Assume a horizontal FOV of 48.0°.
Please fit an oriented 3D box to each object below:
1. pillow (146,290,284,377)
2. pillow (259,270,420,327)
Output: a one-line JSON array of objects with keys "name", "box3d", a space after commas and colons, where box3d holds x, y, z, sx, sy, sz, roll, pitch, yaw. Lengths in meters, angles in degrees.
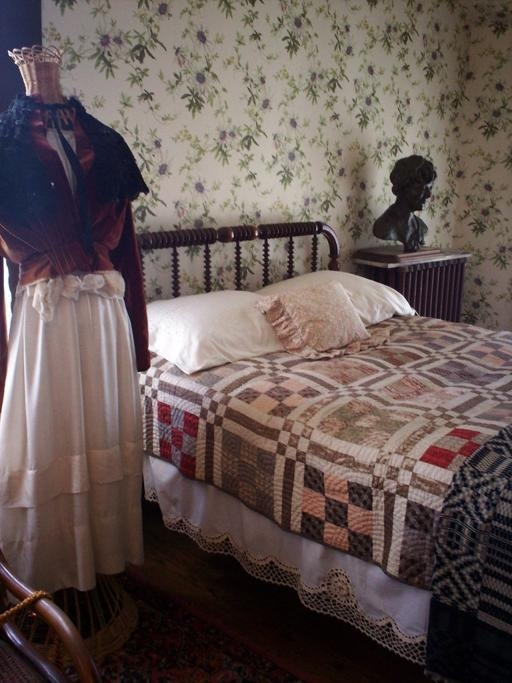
[{"name": "pillow", "box3d": [-0.122, -0.047, 1.948, 0.349, 0.084, 0.296, -14, 43, -44]}, {"name": "pillow", "box3d": [0.247, -0.189, 2.481, 0.338, 0.313, 0.091, 3, 39, 29]}]
